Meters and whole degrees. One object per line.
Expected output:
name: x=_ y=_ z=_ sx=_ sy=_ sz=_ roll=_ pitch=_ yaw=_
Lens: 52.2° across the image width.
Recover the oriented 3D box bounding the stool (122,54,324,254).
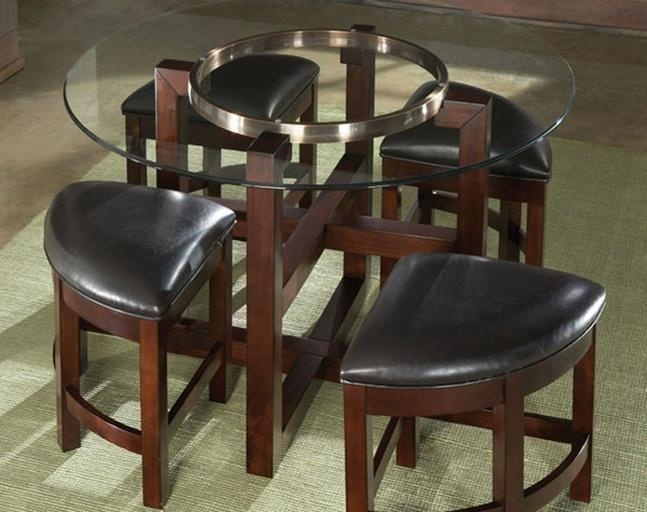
stool: x=-0.243 y=-0.296 z=1.910 sx=0.506 sy=0.517 sz=0.494 roll=11 pitch=39 yaw=16
